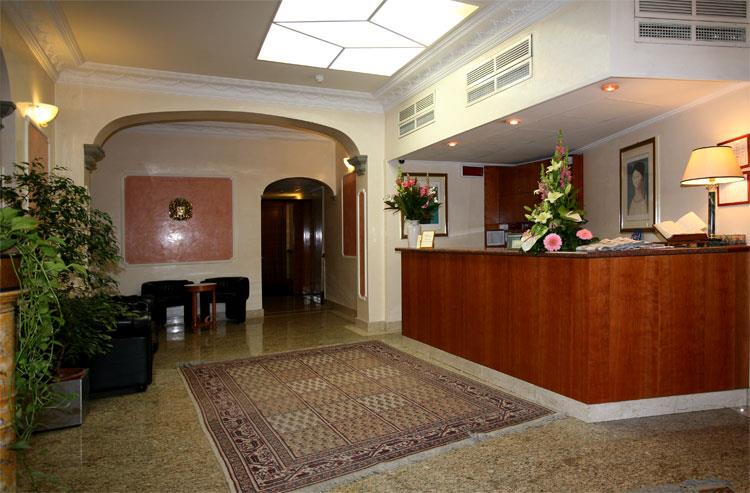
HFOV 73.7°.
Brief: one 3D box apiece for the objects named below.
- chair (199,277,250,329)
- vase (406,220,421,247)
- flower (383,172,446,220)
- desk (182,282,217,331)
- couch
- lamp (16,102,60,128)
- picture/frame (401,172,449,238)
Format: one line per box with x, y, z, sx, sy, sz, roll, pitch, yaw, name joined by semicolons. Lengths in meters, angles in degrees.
-2.921;1.130;10.377;1.070;1.000;0.881;-3;-6;29;chair
0.613;-0.209;8.033;0.251;0.441;0.345;0;13;5;vase
0.623;-0.741;7.934;0.753;0.790;0.386;2;14;14;flower
-3.353;1.068;9.633;0.585;0.918;0.924;-6;14;-19;desk
-3.135;1.160;6.092;1.036;1.109;1.137;-2;3;-28;couch
-4.536;-1.813;6.732;0.435;0.258;0.423;-4;-3;-20;lamp
0.829;-0.748;8.523;1.317;1.494;0.061;-1;1;-26;picture/frame
